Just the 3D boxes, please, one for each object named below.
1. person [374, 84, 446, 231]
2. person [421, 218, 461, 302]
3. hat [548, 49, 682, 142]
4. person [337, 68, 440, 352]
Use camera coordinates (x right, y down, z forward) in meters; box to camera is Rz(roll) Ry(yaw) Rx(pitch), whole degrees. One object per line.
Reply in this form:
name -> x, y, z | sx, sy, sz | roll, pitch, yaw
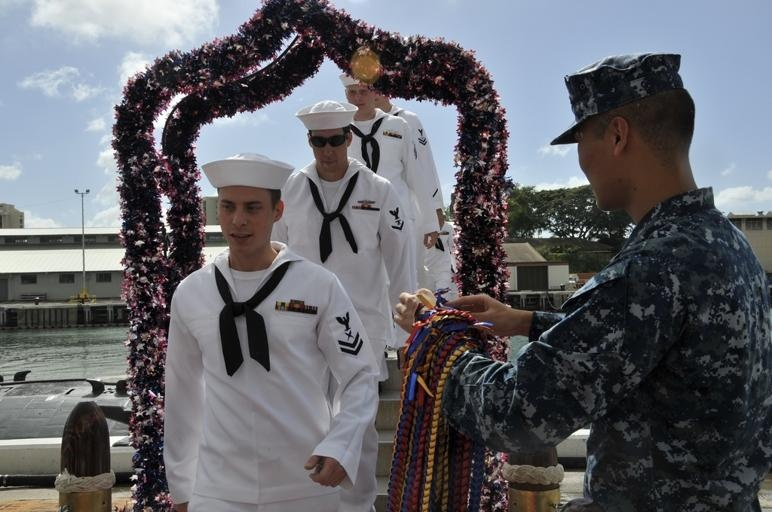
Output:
person -> 0.233, -1.131, 9.115 | 0.803, 1.863, 0.912 | 0, 0, 7
person -> 0.721, 0.052, 11.722 | 0.463, 1.099, 0.626 | 1, 0, -15
hat -> 1.217, -0.868, 4.379 | 0.700, 0.366, 0.512 | -7, 3, 29
person -> 0.035, -0.453, 8.932 | 1.133, 2.877, 1.033 | -1, 0, 6
